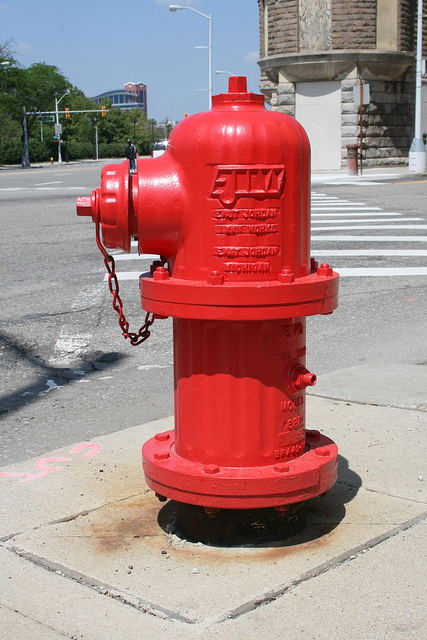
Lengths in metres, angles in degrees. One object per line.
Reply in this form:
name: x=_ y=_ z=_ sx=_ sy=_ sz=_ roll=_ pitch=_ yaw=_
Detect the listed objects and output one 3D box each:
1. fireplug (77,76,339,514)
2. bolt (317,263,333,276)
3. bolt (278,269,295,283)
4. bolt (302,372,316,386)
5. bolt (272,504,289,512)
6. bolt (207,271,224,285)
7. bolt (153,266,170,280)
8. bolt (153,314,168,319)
fireplug: x=0.024 y=-0.080 z=3.256 sx=0.956 sy=1.695 sz=0.882 roll=-5 pitch=11 yaw=-8
bolt: x=0.421 y=-0.192 z=3.204 sx=0.053 sy=0.047 sz=0.045 roll=-11 pitch=15 yaw=-42
bolt: x=0.269 y=-0.162 z=3.052 sx=0.056 sy=0.045 sz=0.047 roll=0 pitch=3 yaw=22
bolt: x=0.369 y=0.231 z=3.184 sx=0.052 sy=0.046 sz=0.038 roll=2 pitch=-23 yaw=13
bolt: x=0.252 y=0.712 z=3.163 sx=0.041 sy=0.034 sz=0.039 roll=0 pitch=3 yaw=-27
bolt: x=0.004 y=-0.149 z=2.970 sx=0.050 sy=0.042 sz=0.052 roll=4 pitch=8 yaw=36
bolt: x=-0.199 y=-0.171 z=3.135 sx=0.051 sy=0.051 sz=0.059 roll=0 pitch=0 yaw=31
bolt: x=-0.221 y=-0.010 z=3.384 sx=0.034 sy=0.024 sz=0.034 roll=0 pitch=1 yaw=18
